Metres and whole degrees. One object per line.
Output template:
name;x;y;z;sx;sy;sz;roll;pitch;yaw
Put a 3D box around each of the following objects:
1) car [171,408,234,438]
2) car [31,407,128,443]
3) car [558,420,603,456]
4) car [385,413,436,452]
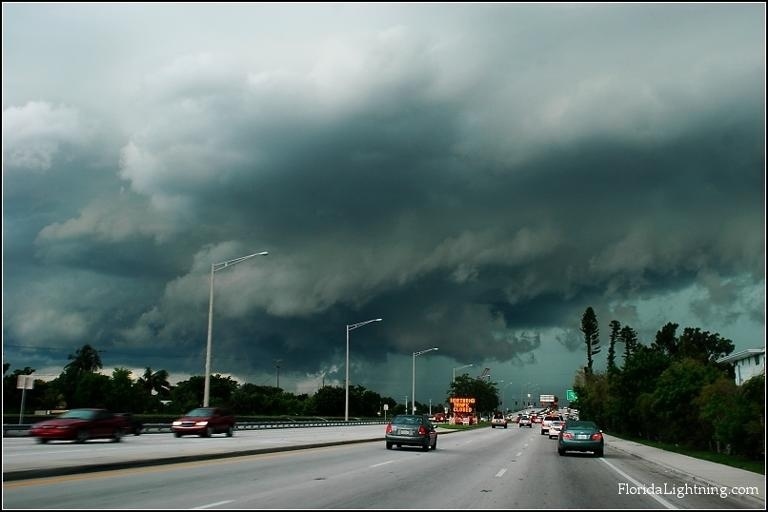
car;-11.016;10.101;46.039;3.744;1.957;1.814;14;-23;-42
car;-15.919;8.796;39.062;1.520;1.792;4.687;-12;-20;31
car;10.092;9.303;38.803;2.219;1.766;1.872;-2;-17;1
car;1.476;9.444;40.514;2.143;1.978;2.595;-13;-20;32
